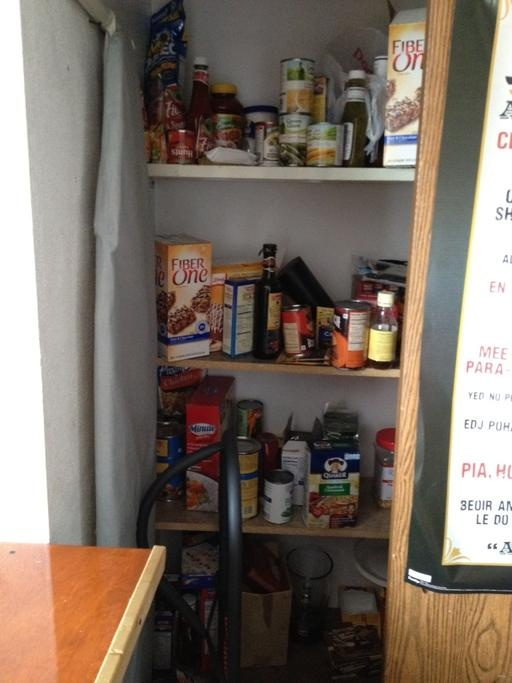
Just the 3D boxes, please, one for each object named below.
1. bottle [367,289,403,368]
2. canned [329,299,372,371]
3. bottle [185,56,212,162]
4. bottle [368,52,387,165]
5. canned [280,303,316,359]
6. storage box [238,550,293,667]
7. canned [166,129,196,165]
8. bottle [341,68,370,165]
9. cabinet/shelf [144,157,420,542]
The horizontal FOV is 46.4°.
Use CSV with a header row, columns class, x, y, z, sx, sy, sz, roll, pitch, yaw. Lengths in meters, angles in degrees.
class,x,y,z,sx,sy,sz,roll,pitch,yaw
bottle,0.314,-0.030,1.457,0.073,0.184,0.143,7,7,13
canned,0.232,-0.014,1.466,0.094,0.152,0.092,-5,18,-24
bottle,-0.130,-0.567,1.467,0.063,0.250,0.083,2,7,-24
bottle,0.287,-0.545,1.413,0.046,0.250,0.066,7,6,11
canned,0.111,-0.032,1.554,0.092,0.124,0.093,-14,18,-8
storage box,0.028,0.776,1.737,0.154,0.281,0.263,5,7,0
canned,-0.179,-0.467,1.439,0.081,0.090,0.082,1,9,-5
bottle,0.235,-0.517,1.400,0.066,0.214,0.061,5,6,-1
cabinet/shelf,0.055,-0.006,1.536,0.994,0.935,0.331,0,7,-4
